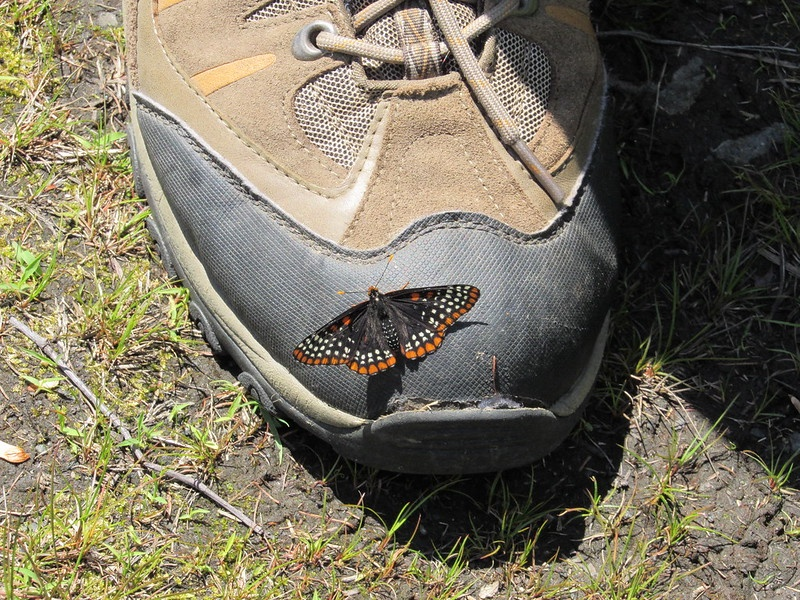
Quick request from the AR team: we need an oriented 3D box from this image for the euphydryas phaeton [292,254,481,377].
[{"bbox_3d":[-0.013,0.038,2.007,0.469,0.055,0.262,-17,97,6],"label":"euphydryas phaeton"}]
